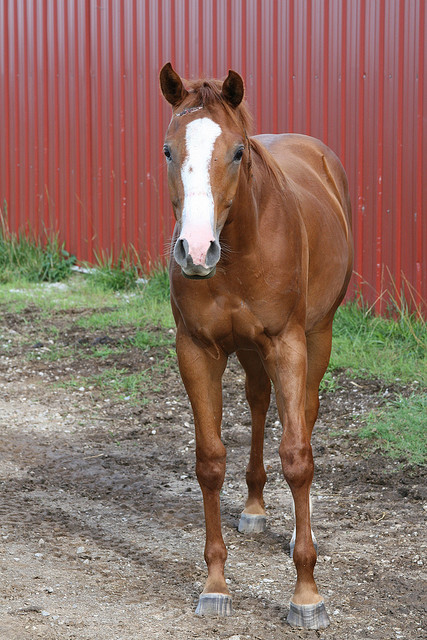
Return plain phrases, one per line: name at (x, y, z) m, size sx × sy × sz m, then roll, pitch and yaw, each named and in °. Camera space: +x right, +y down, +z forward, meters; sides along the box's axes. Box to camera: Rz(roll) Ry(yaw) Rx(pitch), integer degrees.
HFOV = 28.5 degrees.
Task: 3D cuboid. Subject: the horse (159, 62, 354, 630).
horse at (0.204, 0.038, 4.038) m, size 0.820 × 2.285 × 2.092 m, roll 4°, pitch 10°, yaw 8°
